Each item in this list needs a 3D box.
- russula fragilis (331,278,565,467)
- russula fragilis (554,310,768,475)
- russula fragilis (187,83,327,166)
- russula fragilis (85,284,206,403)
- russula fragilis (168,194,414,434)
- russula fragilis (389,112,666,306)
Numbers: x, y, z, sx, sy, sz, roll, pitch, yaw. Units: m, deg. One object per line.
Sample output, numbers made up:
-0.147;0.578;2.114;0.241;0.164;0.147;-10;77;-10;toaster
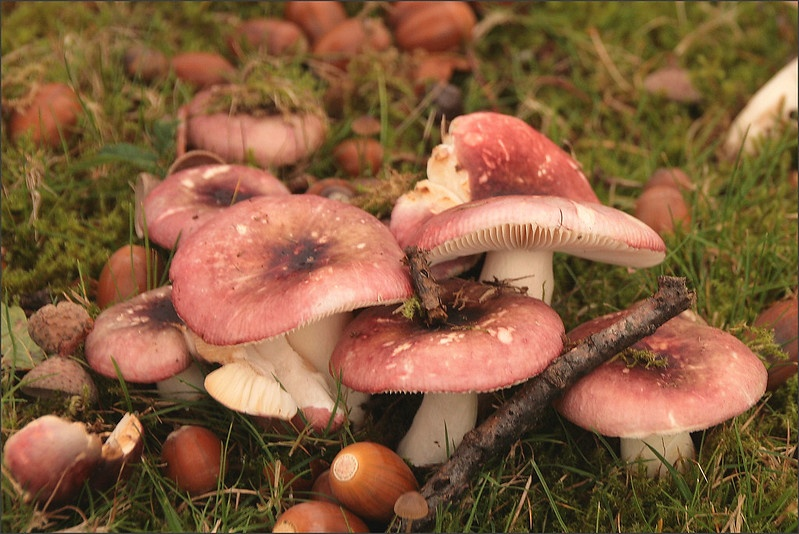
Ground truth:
0.265;0.760;5.340;1.220;1.312;1.291;-2;31;4;russula fragilis
1.663;0.774;5.442;1.352;0.865;1.375;-6;21;-4;russula fragilis
-1.069;-0.982;5.818;1.014;0.314;0.469;4;62;3;russula fragilis
-1.652;0.545;5.355;0.659;0.654;0.634;-17;44;-34;russula fragilis
-0.677;0.423;5.490;1.454;1.571;1.519;21;32;23;russula fragilis
0.753;-0.450;5.290;1.583;0.833;1.165;7;62;5;russula fragilis
